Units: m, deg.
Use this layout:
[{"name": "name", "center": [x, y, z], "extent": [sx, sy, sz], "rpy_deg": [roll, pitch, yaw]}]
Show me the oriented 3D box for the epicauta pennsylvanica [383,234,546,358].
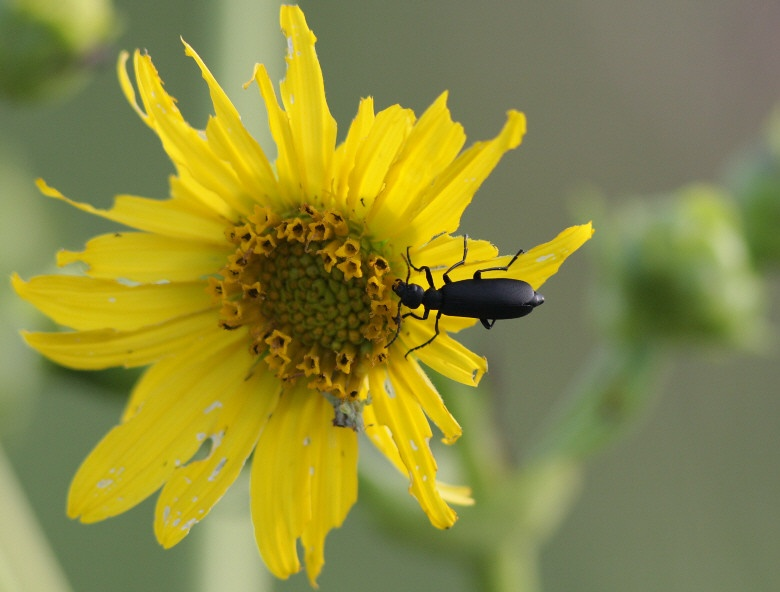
[{"name": "epicauta pennsylvanica", "center": [0.144, 0.024, 1.620], "extent": [0.248, 0.228, 0.065], "rpy_deg": [3, 25, 7]}]
